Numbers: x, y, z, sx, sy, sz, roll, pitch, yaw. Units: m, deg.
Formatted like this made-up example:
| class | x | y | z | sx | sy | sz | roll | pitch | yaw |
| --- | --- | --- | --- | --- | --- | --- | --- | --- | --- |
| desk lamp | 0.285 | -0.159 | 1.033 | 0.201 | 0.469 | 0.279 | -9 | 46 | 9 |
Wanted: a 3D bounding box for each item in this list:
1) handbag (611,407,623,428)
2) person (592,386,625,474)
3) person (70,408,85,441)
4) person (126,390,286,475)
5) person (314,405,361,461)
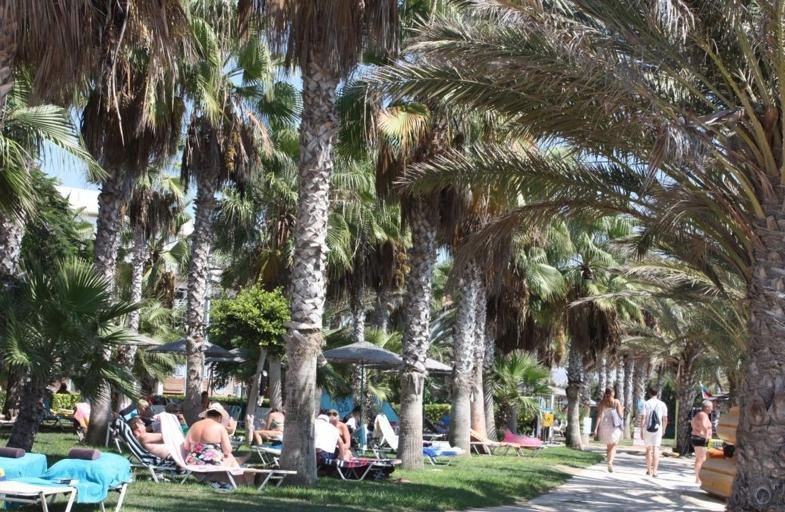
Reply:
| class | x | y | z | sx | sy | sz | roll | pitch | yaw |
| --- | --- | --- | --- | --- | --- | --- | --- | --- | --- |
| handbag | 5.731 | 4.119 | 23.641 | 0.296 | 0.488 | 0.136 | -9 | -5 | -34 |
| person | 5.608 | 4.364 | 24.079 | 0.659 | 2.348 | 0.754 | 0 | 17 | 16 |
| person | -9.265 | 4.898 | 27.378 | 0.413 | 0.968 | 3.657 | 6 | -12 | -18 |
| person | -4.206 | 3.676 | 18.944 | 2.780 | 1.362 | 1.440 | -5 | -14 | 37 |
| person | -1.275 | 4.027 | 20.711 | 0.696 | 1.077 | 1.086 | 1 | 5 | 1 |
